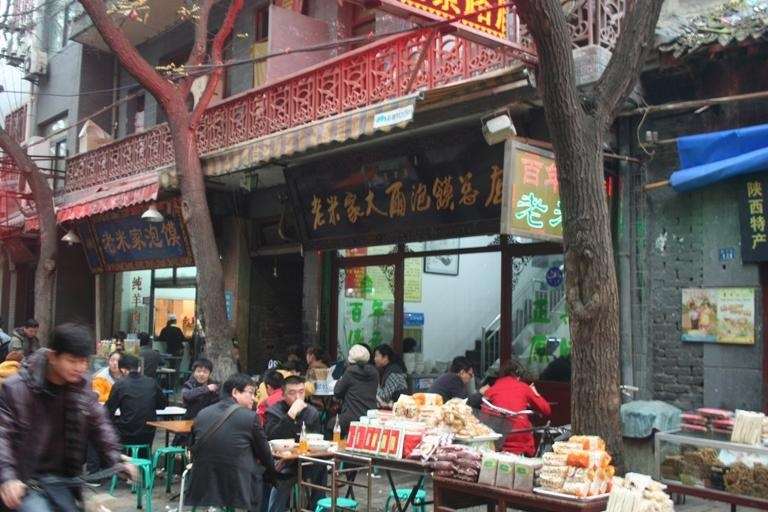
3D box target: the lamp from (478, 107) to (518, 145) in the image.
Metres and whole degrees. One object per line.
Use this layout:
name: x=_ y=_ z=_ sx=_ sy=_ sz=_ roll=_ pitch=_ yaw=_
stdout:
lamp: x=1.735 y=-1.939 z=11.545 sx=0.327 sy=0.572 sz=0.764 roll=2 pitch=-7 yaw=-18

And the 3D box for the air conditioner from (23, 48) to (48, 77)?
air conditioner: x=-10.669 y=-6.028 z=23.874 sx=0.785 sy=0.890 sz=0.455 roll=-6 pitch=-8 yaw=41

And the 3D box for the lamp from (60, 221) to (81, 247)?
lamp: x=-8.282 y=-0.651 z=20.495 sx=0.471 sy=0.574 sz=0.537 roll=0 pitch=-11 yaw=-10

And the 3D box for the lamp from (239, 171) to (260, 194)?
lamp: x=-2.777 y=-1.611 z=16.232 sx=0.281 sy=0.366 sz=0.641 roll=3 pitch=-7 yaw=-25

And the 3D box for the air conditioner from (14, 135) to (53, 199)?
air conditioner: x=-10.369 y=-2.983 z=23.178 sx=0.842 sy=1.963 sz=4.125 roll=3 pitch=-8 yaw=-26

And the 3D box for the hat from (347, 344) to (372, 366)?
hat: x=-0.408 y=1.646 z=13.014 sx=0.262 sy=0.367 sz=0.353 roll=2 pitch=0 yaw=-21

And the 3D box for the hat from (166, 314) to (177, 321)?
hat: x=-5.252 y=1.521 z=19.273 sx=0.184 sy=0.152 sz=0.190 roll=6 pitch=-3 yaw=-31

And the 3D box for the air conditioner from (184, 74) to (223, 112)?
air conditioner: x=-3.729 y=-3.459 z=16.146 sx=0.247 sy=1.011 sz=1.029 roll=31 pitch=28 yaw=16

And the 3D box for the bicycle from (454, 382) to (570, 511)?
bicycle: x=1.956 y=2.694 z=11.647 sx=1.439 sy=2.049 sz=1.381 roll=2 pitch=-2 yaw=26

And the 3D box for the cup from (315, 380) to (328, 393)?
cup: x=-1.034 y=2.214 z=13.078 sx=0.174 sy=0.192 sz=0.189 roll=-1 pitch=-8 yaw=0
